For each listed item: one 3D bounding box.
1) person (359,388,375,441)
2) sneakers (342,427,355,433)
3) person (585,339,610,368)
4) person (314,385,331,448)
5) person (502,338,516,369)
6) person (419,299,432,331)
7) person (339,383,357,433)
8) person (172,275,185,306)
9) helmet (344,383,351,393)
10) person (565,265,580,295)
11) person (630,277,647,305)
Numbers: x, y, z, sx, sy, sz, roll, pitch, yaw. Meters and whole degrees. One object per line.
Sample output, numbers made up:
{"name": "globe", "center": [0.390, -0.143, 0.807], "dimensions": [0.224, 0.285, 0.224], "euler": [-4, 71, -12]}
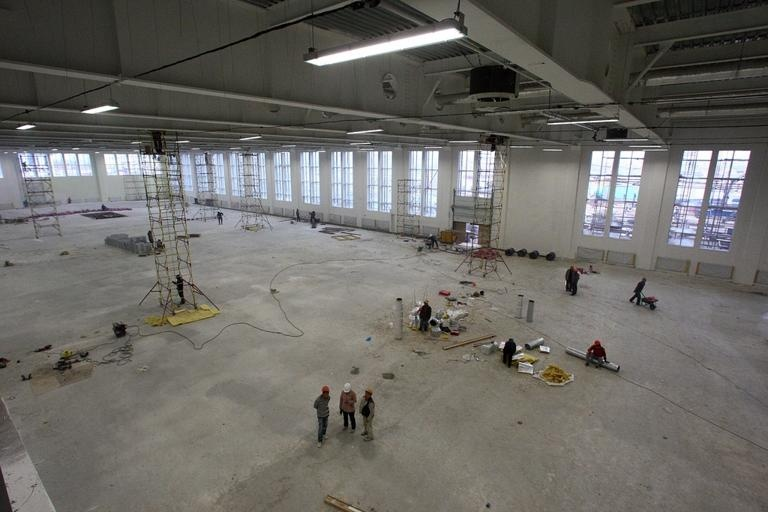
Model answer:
{"name": "person", "center": [-0.506, 4.388, 11.149], "dimensions": [0.377, 1.591, 0.550], "euler": [-1, 14, -4]}
{"name": "sneakers", "center": [-1.041, 5.056, 11.495], "dimensions": [0.378, 0.147, 0.115], "euler": [1, 41, 16]}
{"name": "person", "center": [7.757, 3.573, 14.289], "dimensions": [0.761, 0.930, 0.597], "euler": [8, 25, 27]}
{"name": "person", "center": [-1.773, 4.401, 11.090], "dimensions": [0.402, 1.682, 0.568], "euler": [-3, 14, -12]}
{"name": "person", "center": [4.441, 3.404, 13.966], "dimensions": [0.419, 1.028, 0.360], "euler": [4, 14, 18]}
{"name": "person", "center": [1.645, 2.465, 16.006], "dimensions": [0.447, 1.151, 0.443], "euler": [1, 13, 3]}
{"name": "person", "center": [-1.047, 4.435, 11.370], "dimensions": [0.448, 1.293, 0.359], "euler": [4, 14, 17]}
{"name": "person", "center": [-9.150, 1.469, 17.600], "dimensions": [0.315, 1.573, 0.910], "euler": [-7, 15, -27]}
{"name": "helmet", "center": [-1.076, 3.731, 11.206], "dimensions": [0.189, 0.338, 0.328], "euler": [-1, 12, -4]}
{"name": "person", "center": [9.421, 1.200, 19.614], "dimensions": [0.590, 1.344, 0.893], "euler": [6, 14, 24]}
{"name": "person", "center": [12.438, 1.730, 19.203], "dimensions": [0.768, 1.339, 0.547], "euler": [-13, 33, -5]}
